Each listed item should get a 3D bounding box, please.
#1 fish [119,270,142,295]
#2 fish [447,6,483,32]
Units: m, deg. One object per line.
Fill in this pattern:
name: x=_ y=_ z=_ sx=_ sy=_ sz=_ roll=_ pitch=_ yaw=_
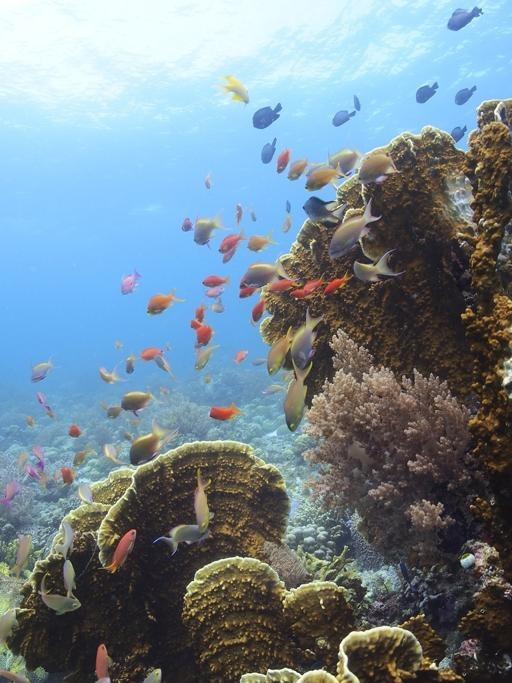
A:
fish: x=-1.771 y=-0.820 z=9.217 sx=0.281 sy=0.349 sz=0.716 roll=-14 pitch=18 yaw=-11
fish: x=3.158 y=-4.937 z=9.964 sx=0.474 sy=0.320 sz=0.793 roll=-4 pitch=18 yaw=17
